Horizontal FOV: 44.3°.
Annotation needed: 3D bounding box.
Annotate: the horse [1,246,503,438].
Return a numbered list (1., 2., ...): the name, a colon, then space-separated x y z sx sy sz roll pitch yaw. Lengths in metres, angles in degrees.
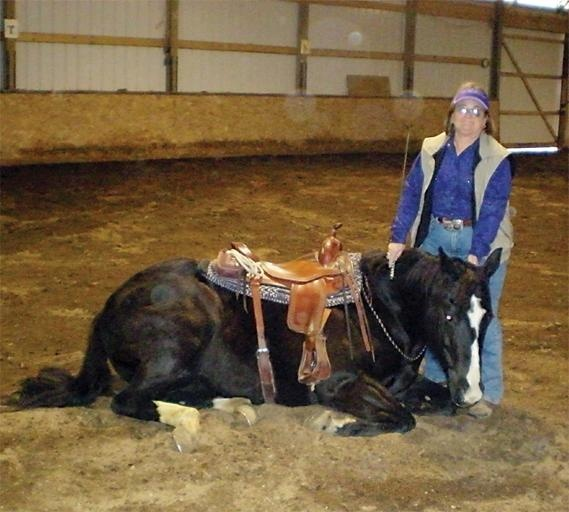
1. horse: -0.148 0.438 4.003 2.618 0.990 0.880 3 3 -3
